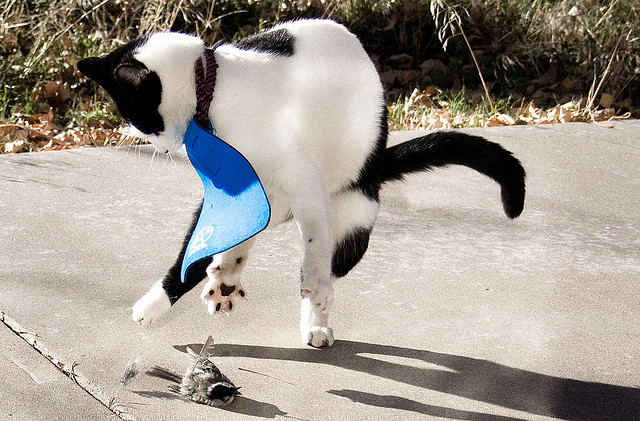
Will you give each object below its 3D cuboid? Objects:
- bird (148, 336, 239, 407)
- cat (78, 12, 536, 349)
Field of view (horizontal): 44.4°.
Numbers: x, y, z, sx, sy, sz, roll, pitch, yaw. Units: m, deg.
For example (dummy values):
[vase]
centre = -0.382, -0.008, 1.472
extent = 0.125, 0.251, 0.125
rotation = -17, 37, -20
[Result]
[bird]
centre = -0.468, 0.632, 2.996
extent = 0.353, 0.156, 0.247
rotation = 34, 24, 32
[cat]
centre = -0.136, -0.183, 3.494
extent = 1.678, 1.307, 1.158
rotation = -7, 18, -25
